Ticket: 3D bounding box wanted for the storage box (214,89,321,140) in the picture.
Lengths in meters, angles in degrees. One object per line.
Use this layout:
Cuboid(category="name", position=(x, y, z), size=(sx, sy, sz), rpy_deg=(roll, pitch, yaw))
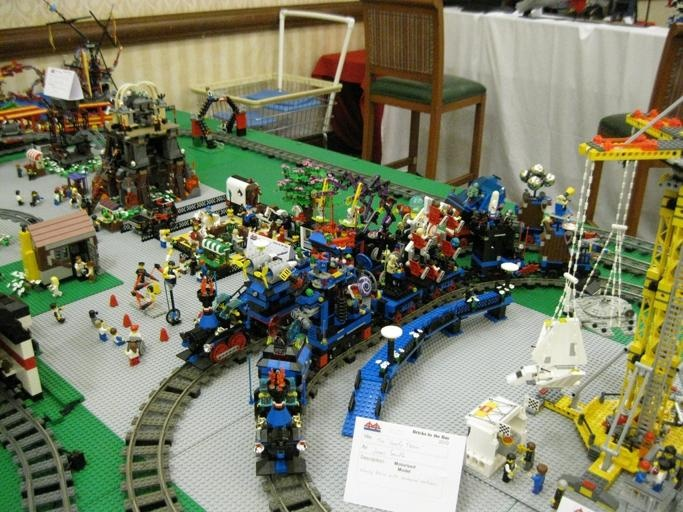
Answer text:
Cuboid(category="storage box", position=(-1.202, -2.885, 10.740), size=(1.746, 0.638, 1.190), rpy_deg=(-23, 40, -38))
